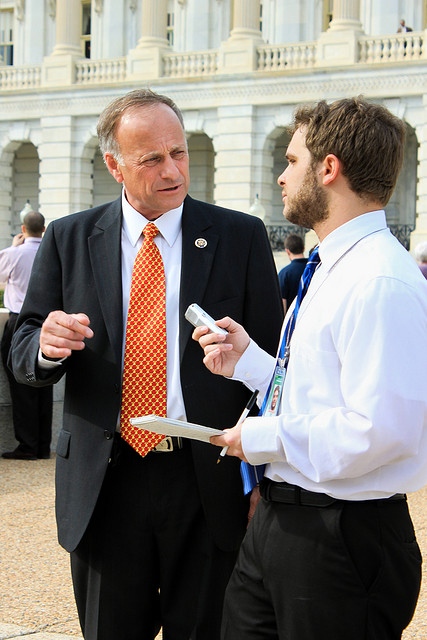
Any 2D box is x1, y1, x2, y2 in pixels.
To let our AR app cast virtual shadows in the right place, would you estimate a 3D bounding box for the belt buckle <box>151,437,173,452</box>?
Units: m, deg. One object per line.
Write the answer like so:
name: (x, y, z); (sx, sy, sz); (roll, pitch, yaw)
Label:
belt buckle: (-0.155, 0.382, 2.230); (0.054, 0.019, 0.042); (-14, -35, 27)
